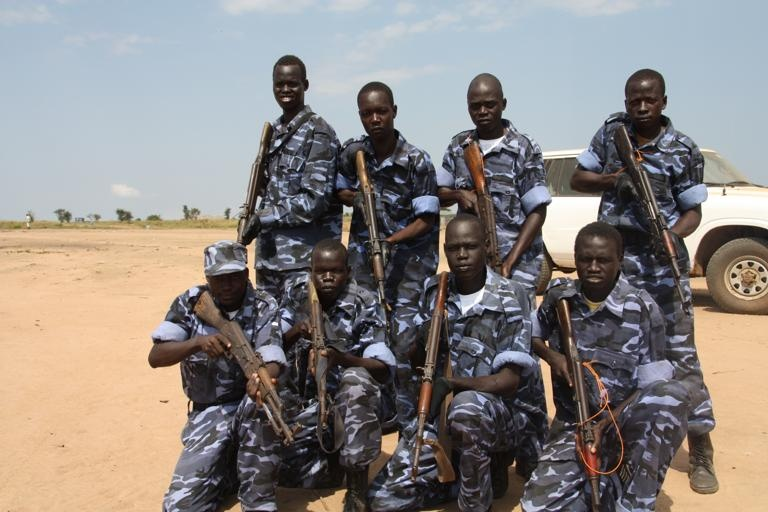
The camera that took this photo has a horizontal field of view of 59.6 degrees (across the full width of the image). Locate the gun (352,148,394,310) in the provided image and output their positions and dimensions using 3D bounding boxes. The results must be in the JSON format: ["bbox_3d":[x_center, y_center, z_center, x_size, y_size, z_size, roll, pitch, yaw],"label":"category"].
[{"bbox_3d":[-0.249,-0.256,6.488,0.247,1.631,0.516,-4,-15,-14],"label":"gun"}]

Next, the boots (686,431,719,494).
[{"bbox_3d":[2.722,1.769,5.760,0.223,0.487,0.529,3,2,21],"label":"boots"}]

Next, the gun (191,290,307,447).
[{"bbox_3d":[-1.152,0.924,5.485,0.449,1.503,0.159,-39,-20,25],"label":"gun"}]

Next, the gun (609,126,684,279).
[{"bbox_3d":[2.359,-0.479,6.000,0.184,1.367,0.409,-8,-13,-11],"label":"gun"}]

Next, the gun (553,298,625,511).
[{"bbox_3d":[1.498,1.108,5.205,0.399,1.577,0.420,-2,-23,-2],"label":"gun"}]
